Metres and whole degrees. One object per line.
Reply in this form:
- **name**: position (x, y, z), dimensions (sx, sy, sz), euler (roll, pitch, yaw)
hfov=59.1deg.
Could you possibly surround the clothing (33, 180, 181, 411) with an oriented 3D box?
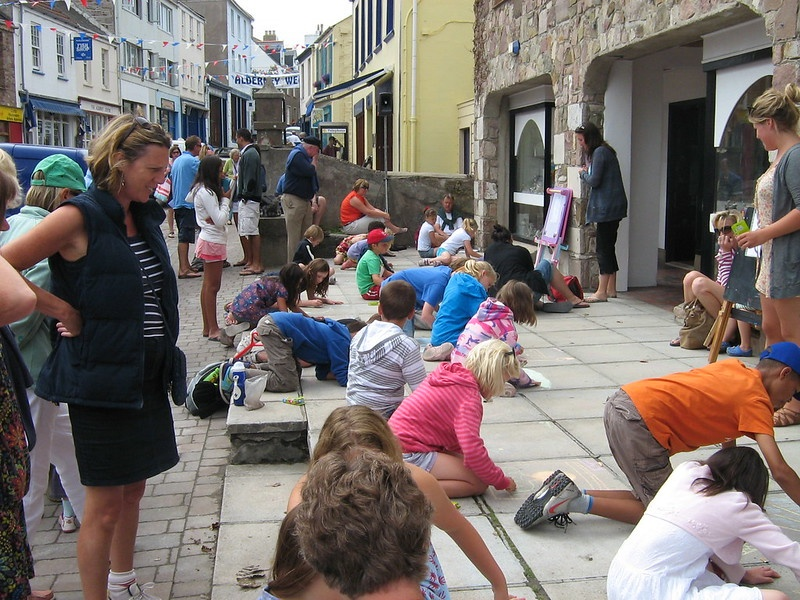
- **clothing**: position (-1.372, 0.008, 3.373), dimensions (0.514, 0.996, 0.710), euler (-2, -3, 17)

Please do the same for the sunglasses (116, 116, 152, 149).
- **sunglasses**: position (-1.194, -0.749, 3.183), dimensions (0.151, 0.047, 0.152), euler (-42, 24, 5)

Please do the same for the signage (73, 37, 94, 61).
- **signage**: position (-12.728, -10.219, 28.466), dimensions (0.678, 1.051, 1.533), euler (-5, 11, -25)

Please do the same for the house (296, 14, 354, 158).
- **house**: position (-3.203, -12.260, 40.788), dimensions (3.811, 6.676, 6.550), euler (-3, 8, -23)

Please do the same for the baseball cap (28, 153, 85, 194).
- **baseball cap**: position (-1.944, -0.736, 4.118), dimensions (0.232, 0.186, 0.344), euler (6, 0, 19)
